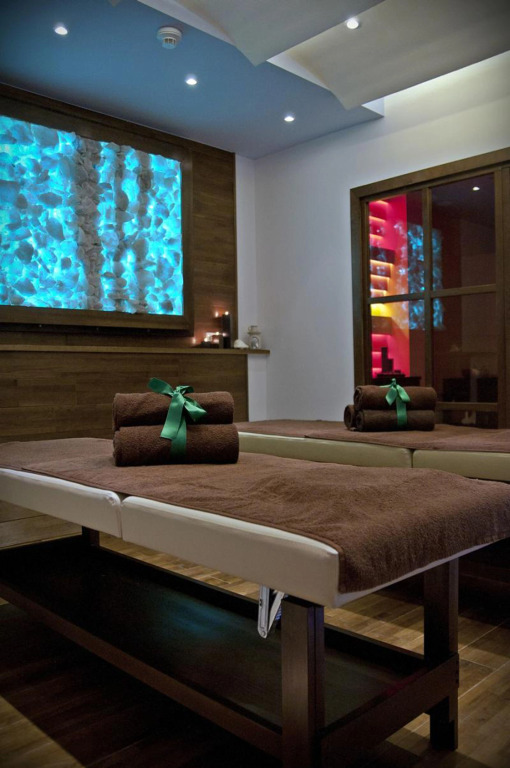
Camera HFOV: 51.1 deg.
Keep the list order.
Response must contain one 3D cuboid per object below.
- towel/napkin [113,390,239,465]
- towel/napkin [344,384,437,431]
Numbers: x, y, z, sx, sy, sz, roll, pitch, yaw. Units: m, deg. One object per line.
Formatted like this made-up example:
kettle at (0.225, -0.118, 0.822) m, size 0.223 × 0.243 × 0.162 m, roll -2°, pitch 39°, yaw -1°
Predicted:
towel/napkin at (-0.217, 0.080, 1.350) m, size 0.212 × 0.132 × 0.211 m, roll -1°, pitch 1°, yaw -13°
towel/napkin at (0.551, 0.096, 2.137) m, size 0.234 × 0.161 × 0.237 m, roll -2°, pitch -3°, yaw 24°
